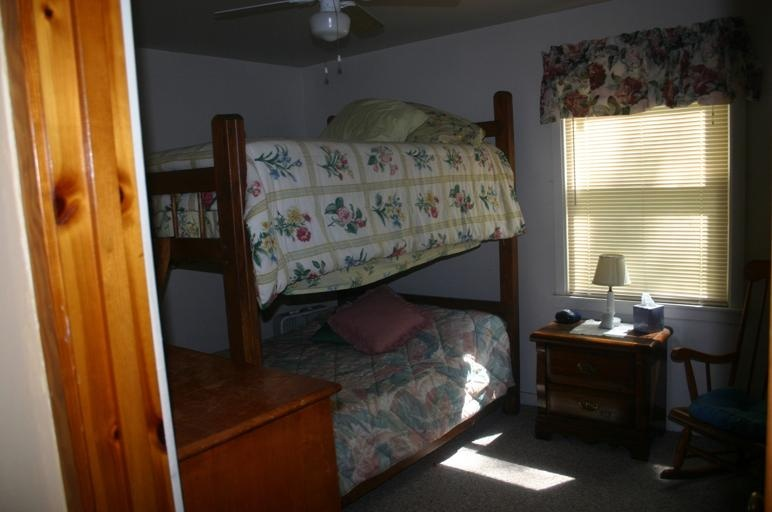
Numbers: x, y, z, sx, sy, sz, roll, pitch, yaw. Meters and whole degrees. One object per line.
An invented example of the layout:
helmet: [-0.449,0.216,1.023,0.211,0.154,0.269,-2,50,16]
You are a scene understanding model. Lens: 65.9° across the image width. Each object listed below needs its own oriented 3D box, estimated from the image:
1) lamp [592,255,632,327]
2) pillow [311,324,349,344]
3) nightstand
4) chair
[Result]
lamp: [1.442,0.196,3.811,0.196,0.456,0.336,1,11,23]
pillow: [-0.392,0.542,4.035,0.153,0.038,0.160,-8,21,-11]
nightstand: [1.330,0.632,3.904,0.990,0.926,0.705,1,1,35]
chair: [1.787,0.658,3.195,0.555,1.169,1.128,1,11,25]
